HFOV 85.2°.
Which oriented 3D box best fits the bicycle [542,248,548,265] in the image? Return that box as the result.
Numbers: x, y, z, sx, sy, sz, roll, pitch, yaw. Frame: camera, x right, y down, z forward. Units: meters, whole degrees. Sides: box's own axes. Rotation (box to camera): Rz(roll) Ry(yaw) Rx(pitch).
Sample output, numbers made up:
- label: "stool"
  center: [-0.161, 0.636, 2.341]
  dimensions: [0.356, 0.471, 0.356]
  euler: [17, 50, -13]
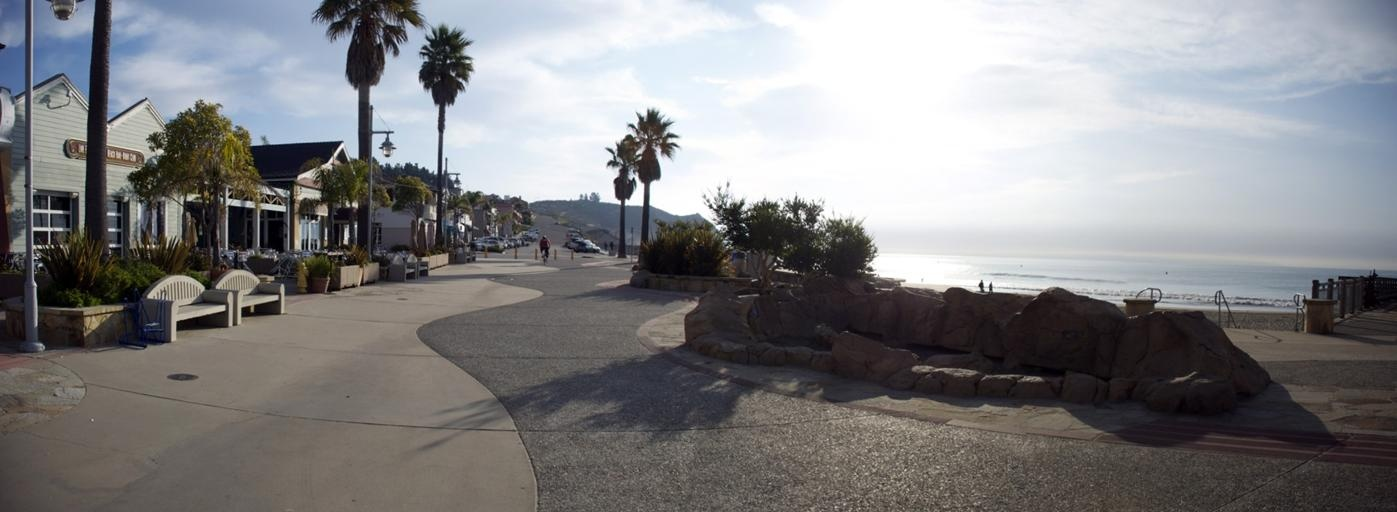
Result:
- label: "bicycle"
  center: [-13.830, -0.140, 68.011]
  dimensions: [0.312, 0.954, 0.871]
  euler: [4, 1, -23]
